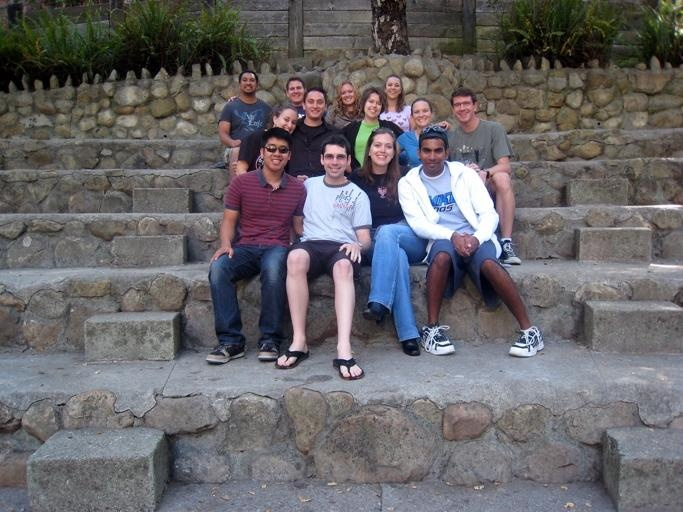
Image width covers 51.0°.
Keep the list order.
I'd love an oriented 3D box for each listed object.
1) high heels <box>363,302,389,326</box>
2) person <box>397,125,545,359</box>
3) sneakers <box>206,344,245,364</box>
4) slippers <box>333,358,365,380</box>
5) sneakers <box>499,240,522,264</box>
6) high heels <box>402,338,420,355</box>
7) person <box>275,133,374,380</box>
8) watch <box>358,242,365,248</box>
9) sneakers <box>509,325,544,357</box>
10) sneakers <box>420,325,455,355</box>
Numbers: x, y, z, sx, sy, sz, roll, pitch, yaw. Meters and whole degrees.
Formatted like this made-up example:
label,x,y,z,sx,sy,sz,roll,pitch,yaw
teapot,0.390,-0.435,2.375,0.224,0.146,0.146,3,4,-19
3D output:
label,x,y,z,sx,sy,sz,roll,pitch,yaw
high heels,0.249,0.418,5.150,0.090,0.102,0.256,-16,-18,0
person,0.959,-0.148,5.270,1.021,1.508,1.038,-2,20,2
sneakers,-0.814,0.690,5.096,0.103,0.126,0.312,3,1,45
slippers,0.037,0.750,4.792,0.248,0.094,0.163,5,21,20
sneakers,1.338,-0.023,5.783,0.109,0.194,0.309,0,0,-5
high heels,0.508,0.656,5.108,0.068,0.066,0.162,-1,0,-7
person,-0.106,-0.091,5.206,0.605,1.417,1.282,0,20,8
watch,0.149,-0.082,5.337,0.036,0.009,0.035,28,31,-33
sneakers,1.311,0.619,5.034,0.129,0.153,0.333,-1,-1,37
sneakers,0.698,0.604,5.163,0.138,0.124,0.283,-3,4,-23
